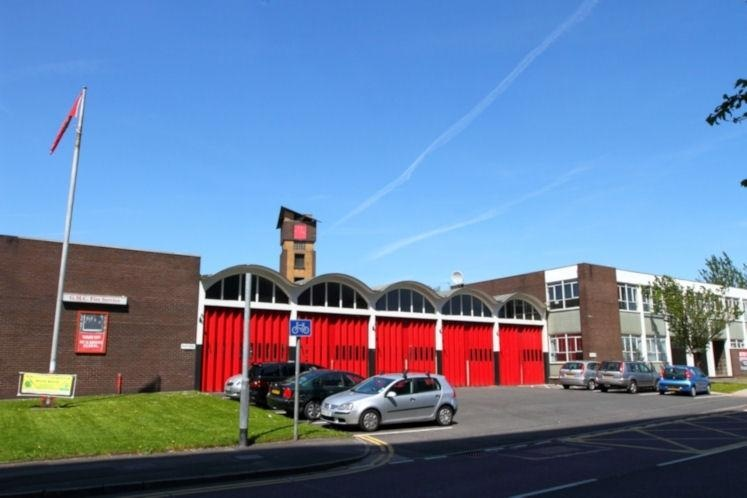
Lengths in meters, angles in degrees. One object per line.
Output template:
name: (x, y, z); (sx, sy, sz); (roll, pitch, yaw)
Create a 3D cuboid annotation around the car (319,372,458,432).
car: (0.617, 6.167, 21.781); (4.417, 1.773, 2.482); (7, -13, -23)

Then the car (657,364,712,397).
car: (20.537, 8.697, 35.256); (3.234, 1.940, 1.701); (5, -17, -21)
